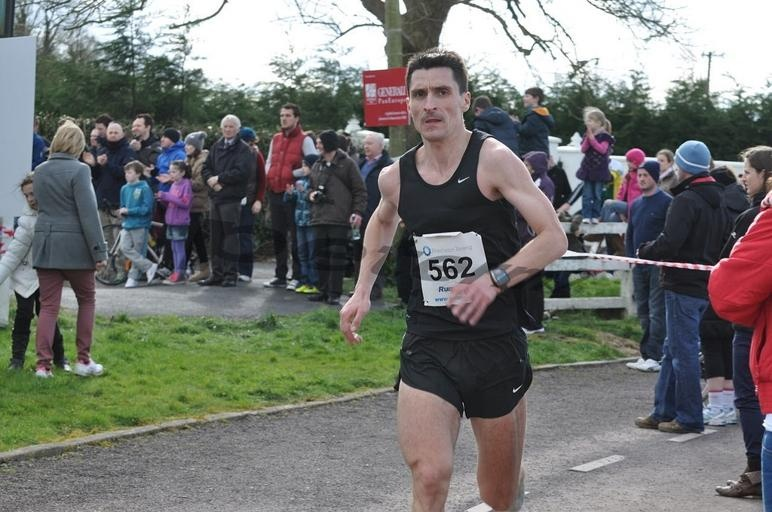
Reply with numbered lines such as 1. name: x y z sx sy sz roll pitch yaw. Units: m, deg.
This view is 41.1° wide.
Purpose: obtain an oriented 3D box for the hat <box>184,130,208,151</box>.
1. hat: -3.242 -1.970 17.571 0.441 0.334 0.318 -1 7 -16

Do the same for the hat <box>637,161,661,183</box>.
1. hat: 3.383 -1.110 13.321 0.290 0.220 0.204 0 8 18

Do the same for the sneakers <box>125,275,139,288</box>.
1. sneakers: -4.213 0.440 17.107 0.233 0.193 0.425 3 11 -13

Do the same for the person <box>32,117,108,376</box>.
1. person: -3.694 -0.091 12.083 0.821 2.866 1.101 1 13 -23

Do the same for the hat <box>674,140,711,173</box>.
1. hat: 3.494 -1.125 11.973 0.434 0.379 0.319 8 -27 -10

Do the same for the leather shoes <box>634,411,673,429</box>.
1. leather shoes: 3.050 1.898 11.883 0.440 0.155 0.150 4 -4 -3

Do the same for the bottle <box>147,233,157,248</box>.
1. bottle: -4.063 -0.264 17.934 0.068 0.209 0.143 -18 12 26

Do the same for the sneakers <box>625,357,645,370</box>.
1. sneakers: 3.548 1.530 14.622 0.308 0.118 0.108 2 1 -21

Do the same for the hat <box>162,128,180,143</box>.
1. hat: -3.658 -2.050 17.613 0.270 0.213 0.374 3 11 -11

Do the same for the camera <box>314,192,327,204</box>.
1. camera: -1.032 -0.905 16.044 0.180 0.148 0.170 -13 7 -19

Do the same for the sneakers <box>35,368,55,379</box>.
1. sneakers: -3.923 1.337 11.855 0.189 0.081 0.222 1 11 -19

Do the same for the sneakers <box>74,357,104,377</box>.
1. sneakers: -3.464 1.308 12.118 0.354 0.151 0.156 0 5 -29

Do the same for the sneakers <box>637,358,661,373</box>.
1. sneakers: 3.680 1.549 14.504 0.352 0.148 0.129 3 -7 -26

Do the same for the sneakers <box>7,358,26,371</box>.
1. sneakers: -4.303 1.264 12.015 0.170 0.166 0.101 12 -14 -13

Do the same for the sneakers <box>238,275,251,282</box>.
1. sneakers: -2.463 0.391 17.999 0.089 0.091 0.231 19 -14 22

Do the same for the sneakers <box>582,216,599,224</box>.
1. sneakers: 3.414 -0.594 17.307 0.113 0.126 0.325 -2 -8 34

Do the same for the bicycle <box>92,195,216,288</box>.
1. bicycle: -3.940 -0.050 18.067 2.219 1.265 1.068 4 -1 -35

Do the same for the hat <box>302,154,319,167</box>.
1. hat: -1.235 -1.553 16.787 0.255 0.210 0.187 -13 23 -23

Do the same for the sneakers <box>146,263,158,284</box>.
1. sneakers: -3.910 0.292 17.262 0.208 0.436 0.152 9 34 -4

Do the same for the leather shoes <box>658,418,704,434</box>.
1. leather shoes: 3.326 1.953 11.770 0.511 0.172 0.175 7 -5 -3

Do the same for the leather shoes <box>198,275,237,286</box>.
1. leather shoes: -2.832 0.422 17.346 0.694 0.256 0.212 3 -1 12

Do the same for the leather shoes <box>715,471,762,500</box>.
1. leather shoes: 3.475 2.268 10.166 0.319 0.124 0.320 1 -4 17
